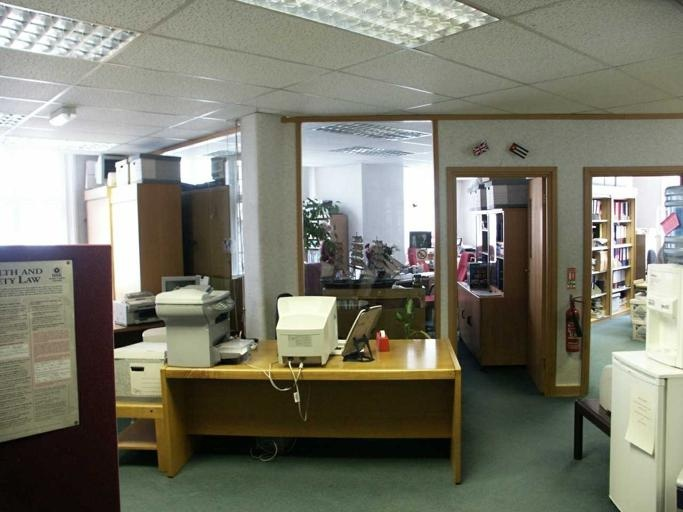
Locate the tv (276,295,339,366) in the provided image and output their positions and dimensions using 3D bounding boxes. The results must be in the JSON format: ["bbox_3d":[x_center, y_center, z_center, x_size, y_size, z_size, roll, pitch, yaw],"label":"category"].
[{"bbox_3d":[-0.237,0.569,4.581,0.489,0.520,0.540,0,15,6],"label":"tv"}]

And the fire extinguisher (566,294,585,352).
[{"bbox_3d":[2.558,0.755,6.081,0.205,0.638,0.159,0,9,4],"label":"fire extinguisher"}]

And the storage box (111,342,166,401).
[{"bbox_3d":[-1.724,0.984,4.689,0.520,0.314,0.514,0,-3,-13],"label":"storage box"}]

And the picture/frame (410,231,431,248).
[{"bbox_3d":[0.874,-0.152,6.118,0.302,0.250,0.158,-1,0,9],"label":"picture/frame"}]

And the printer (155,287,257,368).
[{"bbox_3d":[-1.134,0.599,4.738,0.593,0.578,0.779,-1,-2,9],"label":"printer"}]

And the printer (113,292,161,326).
[{"bbox_3d":[-2.261,0.597,6.100,0.523,0.314,0.502,-5,8,-40],"label":"printer"}]

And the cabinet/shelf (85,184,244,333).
[{"bbox_3d":[-1.833,0.007,5.942,1.790,1.676,0.589,-3,-1,33],"label":"cabinet/shelf"}]

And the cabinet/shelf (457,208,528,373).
[{"bbox_3d":[1.956,0.519,7.113,0.766,2.402,2.167,0,1,4],"label":"cabinet/shelf"}]
